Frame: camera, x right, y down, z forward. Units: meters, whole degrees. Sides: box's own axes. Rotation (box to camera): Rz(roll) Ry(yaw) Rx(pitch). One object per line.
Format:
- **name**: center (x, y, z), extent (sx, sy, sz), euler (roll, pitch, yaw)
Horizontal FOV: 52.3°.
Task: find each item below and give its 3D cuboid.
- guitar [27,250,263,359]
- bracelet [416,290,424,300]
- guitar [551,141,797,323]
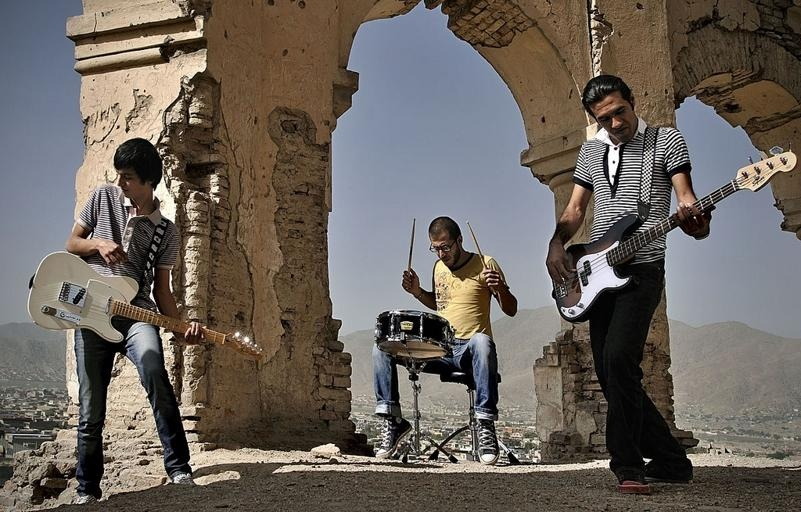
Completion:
- **guitar**: center (-2.419, 0.552, 7.647), extent (2.094, 0.790, 0.204), euler (16, -24, -5)
- **bracelet**: center (0.220, 0.444, 9.467), extent (0.089, 0.105, 0.044), euler (-4, 18, -31)
- **guitar**: center (2.135, -0.304, 7.548), extent (2.463, 0.819, 0.274), euler (-36, -22, 21)
